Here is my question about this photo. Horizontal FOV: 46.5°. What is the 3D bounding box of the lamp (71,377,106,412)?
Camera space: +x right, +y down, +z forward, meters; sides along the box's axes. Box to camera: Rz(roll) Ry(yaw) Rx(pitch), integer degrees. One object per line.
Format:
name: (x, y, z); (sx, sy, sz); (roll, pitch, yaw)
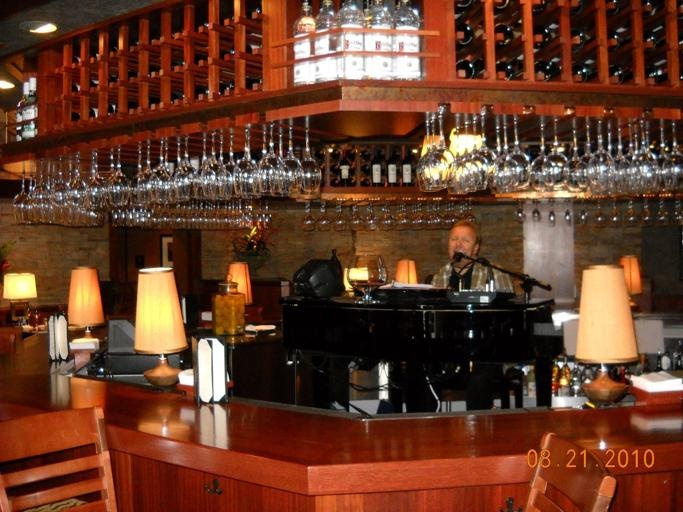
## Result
lamp: (-1.497, 0.811, 4.700); (0.193, 0.215, 0.189); (2, -2, -15)

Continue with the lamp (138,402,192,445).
lamp: (-0.924, 0.878, 4.221); (0.295, 0.104, 0.529); (-1, -1, -12)

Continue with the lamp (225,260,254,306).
lamp: (-1.033, 0.230, 8.119); (0.258, 0.340, 0.247); (-2, 11, -20)

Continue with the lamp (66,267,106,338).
lamp: (-1.860, 0.346, 5.895); (0.304, 0.531, 0.283); (-2, -1, 40)

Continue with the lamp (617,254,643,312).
lamp: (2.997, 0.305, 8.412); (0.306, 0.530, 0.317); (-4, -4, 36)

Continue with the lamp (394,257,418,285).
lamp: (0.727, 0.165, 8.988); (0.298, 0.310, 0.304); (0, -3, 2)

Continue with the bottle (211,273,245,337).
bottle: (-0.832, 0.376, 5.903); (0.247, 0.385, 0.252); (0, 2, 0)

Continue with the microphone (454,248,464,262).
microphone: (0.810, -0.015, 5.481); (0.061, 0.094, 0.104); (2, -15, 12)

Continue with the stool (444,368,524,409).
stool: (0.931, 0.827, 5.141); (0.345, 0.335, 0.348); (-1, -3, 24)

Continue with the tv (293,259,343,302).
tv: (-0.175, 0.177, 5.722); (0.309, 0.266, 0.322); (2, -9, 37)

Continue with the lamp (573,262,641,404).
lamp: (1.471, 0.432, 4.401); (0.324, 0.567, 0.198); (-1, -1, 15)

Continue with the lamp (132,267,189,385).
lamp: (-1.079, 0.419, 4.754); (0.297, 0.701, 0.220); (-1, -1, -14)
